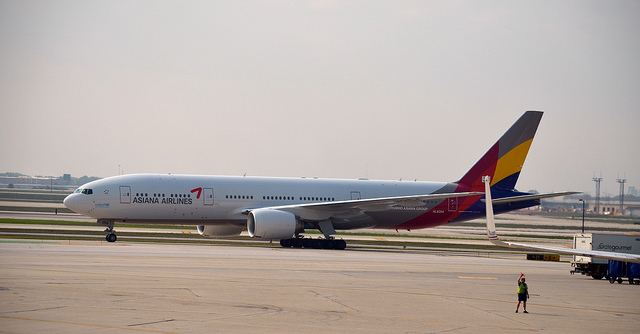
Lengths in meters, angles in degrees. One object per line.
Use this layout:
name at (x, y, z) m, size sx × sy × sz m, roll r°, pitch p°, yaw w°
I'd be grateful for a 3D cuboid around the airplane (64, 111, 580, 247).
airplane at (-0.677, 0.904, 60.431) m, size 36.516 × 11.211 × 6.012 m, roll 1°, pitch 11°, yaw -10°

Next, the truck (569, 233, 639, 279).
truck at (20.171, 6.163, 52.405) m, size 5.893 × 2.175 × 2.708 m, roll 0°, pitch -1°, yaw -11°
